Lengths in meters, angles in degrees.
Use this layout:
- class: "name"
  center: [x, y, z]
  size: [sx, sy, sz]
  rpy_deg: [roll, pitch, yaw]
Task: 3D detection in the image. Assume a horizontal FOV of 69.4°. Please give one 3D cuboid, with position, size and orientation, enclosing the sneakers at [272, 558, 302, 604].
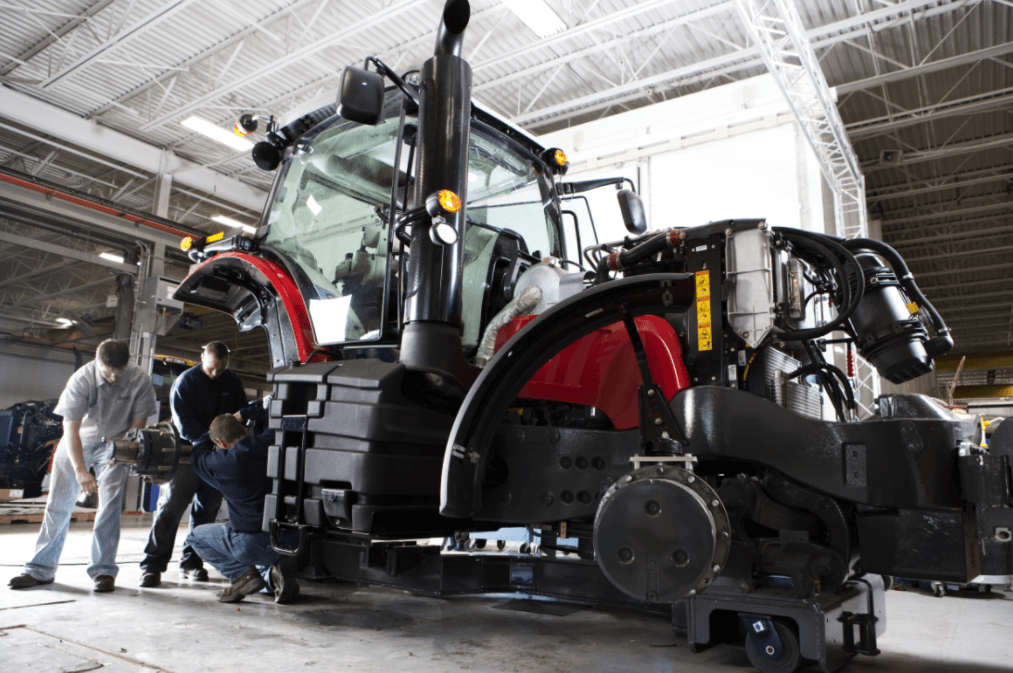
- class: "sneakers"
  center: [-1.688, 1.872, 5.617]
  size: [0.159, 0.368, 0.155]
  rpy_deg: [-1, 3, -23]

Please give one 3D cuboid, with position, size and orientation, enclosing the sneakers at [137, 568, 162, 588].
- class: "sneakers"
  center: [-2.902, 1.976, 5.979]
  size: [0.095, 0.100, 0.237]
  rpy_deg: [4, -2, -24]

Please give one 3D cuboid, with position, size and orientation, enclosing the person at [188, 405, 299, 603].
- class: "person"
  center: [-2.088, 1.345, 5.808]
  size: [1.040, 1.406, 0.723]
  rpy_deg: [-2, 3, 45]

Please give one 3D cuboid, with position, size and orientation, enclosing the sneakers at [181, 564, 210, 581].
- class: "sneakers"
  center: [-2.677, 2.057, 6.336]
  size: [0.275, 0.134, 0.105]
  rpy_deg: [-9, -12, 35]

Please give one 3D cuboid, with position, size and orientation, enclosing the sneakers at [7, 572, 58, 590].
- class: "sneakers"
  center: [-3.670, 1.907, 5.688]
  size: [0.108, 0.126, 0.297]
  rpy_deg: [-15, -25, 31]

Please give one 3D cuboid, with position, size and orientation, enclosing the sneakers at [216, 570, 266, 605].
- class: "sneakers"
  center: [-2.005, 1.929, 5.644]
  size: [0.429, 0.184, 0.168]
  rpy_deg: [-32, -42, 4]
